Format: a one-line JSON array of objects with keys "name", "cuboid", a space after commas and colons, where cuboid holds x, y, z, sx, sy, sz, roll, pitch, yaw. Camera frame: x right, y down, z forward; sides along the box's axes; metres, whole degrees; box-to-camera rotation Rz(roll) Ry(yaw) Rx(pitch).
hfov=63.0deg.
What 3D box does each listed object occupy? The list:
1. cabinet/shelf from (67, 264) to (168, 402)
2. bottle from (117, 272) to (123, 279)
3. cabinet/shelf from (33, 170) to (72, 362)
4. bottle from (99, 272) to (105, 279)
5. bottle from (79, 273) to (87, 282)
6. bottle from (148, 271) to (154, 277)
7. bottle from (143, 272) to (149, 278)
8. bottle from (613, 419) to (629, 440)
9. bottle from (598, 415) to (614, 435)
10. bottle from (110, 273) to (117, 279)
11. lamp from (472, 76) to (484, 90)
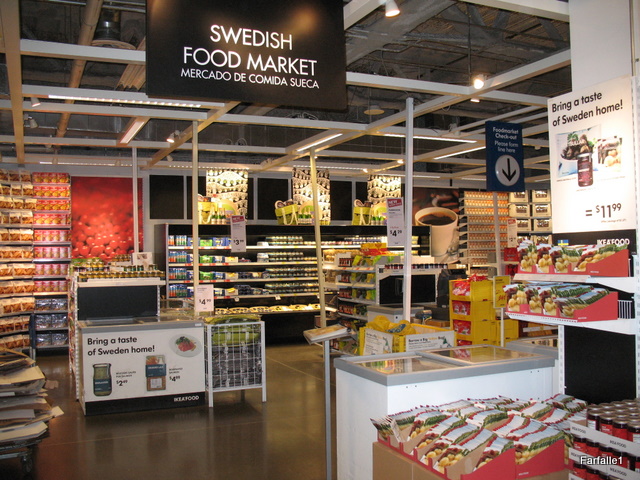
[{"name": "cabinet/shelf", "cuboid": [-3.283, 1.102, 8.345, 1.306, 1.069, 0.873, 1, -1, -34]}, {"name": "bottle", "cuboid": [-3.143, 0.541, 8.191, 0.100, 0.074, 0.048, 0, -6, -31]}, {"name": "cabinet/shelf", "cuboid": [-6.016, 0.473, 11.736, 0.791, 4.007, 0.639, -1, -1, -25]}, {"name": "bottle", "cuboid": [-3.392, 0.539, 8.127, 0.120, 0.068, 0.060, 0, -4, -11]}, {"name": "bottle", "cuboid": [-3.643, 0.569, 8.024, 0.120, 0.096, 0.115, 0, 0, 0]}, {"name": "bottle", "cuboid": [-2.817, 0.557, 8.694, 0.094, 0.049, 0.091, -1, 1, 0]}, {"name": "bottle", "cuboid": [-2.854, 0.563, 8.542, 0.096, 0.060, 0.077, -1, -1, 22]}, {"name": "bottle", "cuboid": [1.691, 1.054, 2.935, 0.096, 0.087, 0.092, 1, -1, 34]}, {"name": "bottle", "cuboid": [1.640, 1.046, 2.994, 0.094, 0.088, 0.091, 0, -2, 36]}, {"name": "bottle", "cuboid": [-3.228, 0.544, 8.161, 0.094, 0.058, 0.086, 0, -6, 0]}, {"name": "lamp", "cuboid": [2.315, -2.308, 7.733, 0.181, 0.121, 0.195, -3, 2, -34]}]
